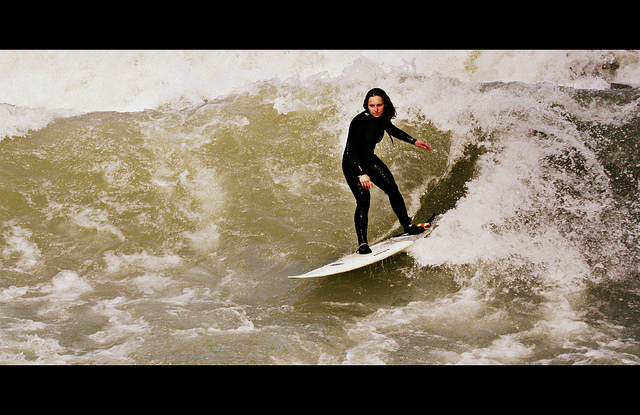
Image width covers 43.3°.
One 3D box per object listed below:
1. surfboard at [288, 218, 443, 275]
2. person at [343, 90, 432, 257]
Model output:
[{"bbox_3d":[0.607,0.469,9.297,1.194,0.143,0.237,-22,34,-12],"label":"surfboard"},{"bbox_3d":[0.686,-0.382,9.122,0.841,1.897,0.537,2,6,-20],"label":"person"}]
